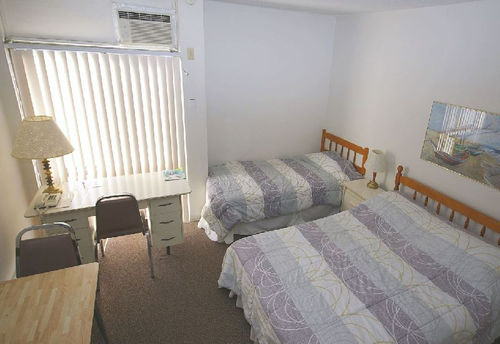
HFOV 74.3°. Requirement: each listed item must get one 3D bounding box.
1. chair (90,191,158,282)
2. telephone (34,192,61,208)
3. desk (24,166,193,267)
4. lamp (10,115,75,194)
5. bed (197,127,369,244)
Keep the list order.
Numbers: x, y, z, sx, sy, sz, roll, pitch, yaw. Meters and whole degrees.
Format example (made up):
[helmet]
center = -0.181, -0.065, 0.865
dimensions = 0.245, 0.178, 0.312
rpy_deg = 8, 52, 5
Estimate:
[chair]
center = -1.473, 0.772, 3.807
dimensions = 0.591, 1.136, 0.427
rpy_deg = -11, 21, -21
[telephone]
center = -2.251, 0.305, 3.708
dimensions = 0.140, 0.057, 0.184
rpy_deg = 1, 23, -13
[desk]
center = -1.678, 0.645, 4.189
dimensions = 1.564, 0.836, 0.850
rpy_deg = -8, 17, -24
[lamp]
center = -2.251, -0.146, 3.627
dimensions = 0.441, 0.872, 0.427
rpy_deg = 5, 22, 22
[bed]
center = 0.423, 0.138, 4.956
dimensions = 2.154, 1.099, 1.425
rpy_deg = -12, 31, -17
